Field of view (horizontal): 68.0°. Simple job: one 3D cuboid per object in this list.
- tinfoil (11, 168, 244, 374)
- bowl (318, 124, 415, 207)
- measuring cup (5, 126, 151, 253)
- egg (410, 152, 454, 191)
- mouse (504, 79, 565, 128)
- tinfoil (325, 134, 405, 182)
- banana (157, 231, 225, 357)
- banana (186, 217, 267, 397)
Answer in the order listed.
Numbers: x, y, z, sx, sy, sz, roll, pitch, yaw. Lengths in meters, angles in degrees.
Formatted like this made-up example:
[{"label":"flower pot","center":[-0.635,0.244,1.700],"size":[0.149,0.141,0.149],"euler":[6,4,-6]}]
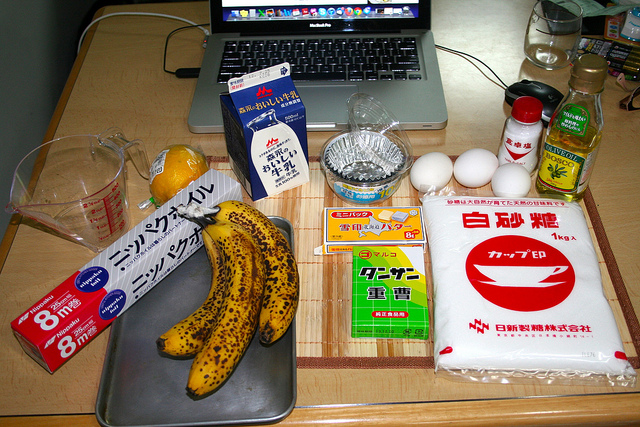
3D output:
[{"label":"tinfoil","center":[-0.347,0.091,0.915],"size":[0.088,0.086,0.446],"euler":[34,61,26]},{"label":"bowl","center":[0.091,-0.092,1.008],"size":[0.180,0.080,0.198],"euler":[0,43,0]},{"label":"measuring cup","center":[-0.450,-0.054,1.095],"size":[0.274,0.262,0.350],"euler":[-6,42,-14]},{"label":"egg","center":[0.235,-0.093,1.004],"size":[0.085,0.064,0.065],"euler":[-29,88,-34]},{"label":"mouse","center":[0.538,-0.294,1.199],"size":[0.130,0.076,0.232],"euler":[15,14,22]},{"label":"tinfoil","center":[0.086,-0.130,1.063],"size":[0.147,0.110,0.163],"euler":[-11,31,-23]},{"label":"banana","center":[-0.192,0.133,0.829],"size":[0.115,0.266,0.087],"euler":[1,56,-30]},{"label":"banana","center":[-0.166,0.140,0.891],"size":[0.168,0.090,0.393],"euler":[-2,48,-1]}]
